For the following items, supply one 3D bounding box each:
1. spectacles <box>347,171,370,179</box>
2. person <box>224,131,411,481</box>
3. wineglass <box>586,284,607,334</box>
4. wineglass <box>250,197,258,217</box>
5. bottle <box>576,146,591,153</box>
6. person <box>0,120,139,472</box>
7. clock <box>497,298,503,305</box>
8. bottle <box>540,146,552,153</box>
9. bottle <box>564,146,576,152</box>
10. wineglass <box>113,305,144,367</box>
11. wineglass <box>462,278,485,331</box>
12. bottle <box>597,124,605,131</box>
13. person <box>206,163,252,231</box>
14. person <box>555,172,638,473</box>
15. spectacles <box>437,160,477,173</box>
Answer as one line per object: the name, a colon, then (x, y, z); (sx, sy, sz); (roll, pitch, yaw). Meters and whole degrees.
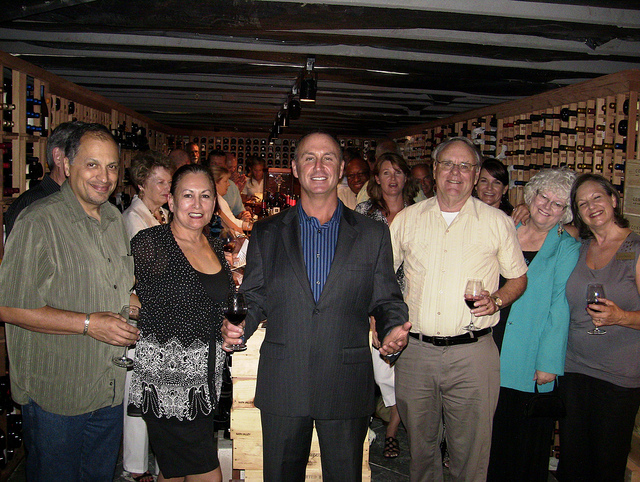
spectacles: (0.448, -0.825, 6.241); (0.259, 0.059, 0.100); (2, 0, 19)
person: (0.011, 0.353, 2.822); (0.966, 1.958, 0.278); (2, 1, 3)
wineglass: (1.890, 0.472, 3.408); (0.124, 0.332, 0.255); (2, 1, 30)
wineglass: (-1.262, -0.681, 9.366); (0.140, 0.350, 0.718); (2, 0, -8)
bottle: (3.013, -1.063, 5.695); (0.073, 0.071, 0.181); (1, 0, -26)
person: (-1.442, 0.361, 2.913); (0.703, 2.137, 0.478); (1, 1, -23)
clock: (1.156, 0.387, 3.208); (0.037, 0.037, 0.009); (4, -19, -22)
bottle: (2.889, -1.175, 6.346); (0.058, 0.079, 0.189); (1, 0, -22)
bottle: (2.975, -1.112, 5.947); (0.056, 0.066, 0.176); (2, 0, -2)
wineglass: (-1.183, 0.566, 3.057); (0.166, 0.370, 0.476); (1, 1, -22)
wineglass: (0.961, 0.405, 3.129); (0.120, 0.270, 0.290); (2, 1, 16)
bottle: (3.115, -1.264, 5.521); (0.069, 0.066, 0.065); (2, 1, 29)
person: (-1.231, -0.426, 6.373); (0.668, 1.001, 0.659); (2, -7, 3)
person: (2.017, 0.589, 3.577); (0.460, 2.082, 0.329); (2, 1, 30)
spectacles: (0.918, -0.500, 3.345); (0.221, 0.064, 0.049); (2, 1, 3)
